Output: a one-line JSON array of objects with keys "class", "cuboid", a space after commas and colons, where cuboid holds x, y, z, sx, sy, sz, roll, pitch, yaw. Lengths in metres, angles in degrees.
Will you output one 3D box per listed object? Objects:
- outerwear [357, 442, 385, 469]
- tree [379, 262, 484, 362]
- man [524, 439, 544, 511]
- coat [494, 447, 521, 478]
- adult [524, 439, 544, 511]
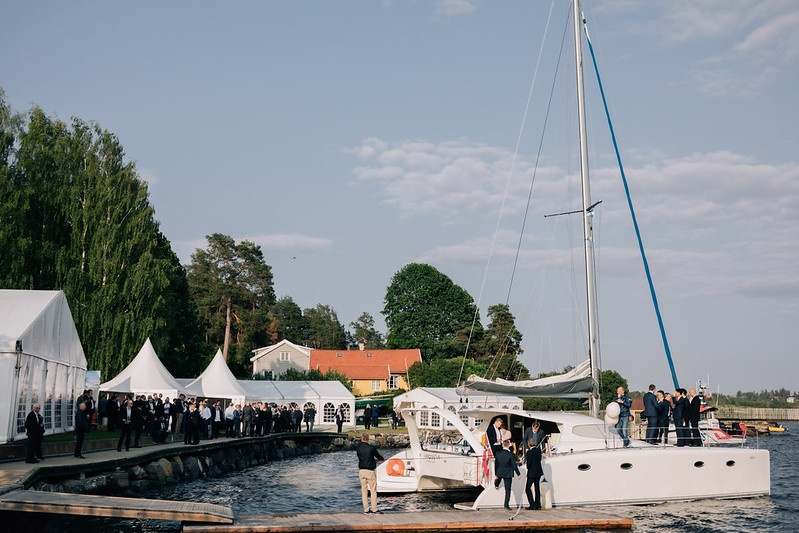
[{"class": "outerwear", "cuboid": [-1.325, 8.061, 39.982, 0.935, 1.229, 1.241, -2, -13, -1]}, {"class": "tree", "cuboid": [4.574, 5.112, 114.578, 10.325, 14.035, 11.629, -11, -16, 19]}, {"class": "man", "cuboid": [5.687, 8.901, 40.084, 0.756, 2.864, 1.660, -4, -13, 7]}, {"class": "coat", "cuboid": [4.585, 8.396, 39.980, 1.037, 1.200, 0.765, 3, -14, -21]}, {"class": "adult", "cuboid": [5.685, 8.897, 40.076, 0.756, 2.868, 1.676, -4, -13, 7]}]
